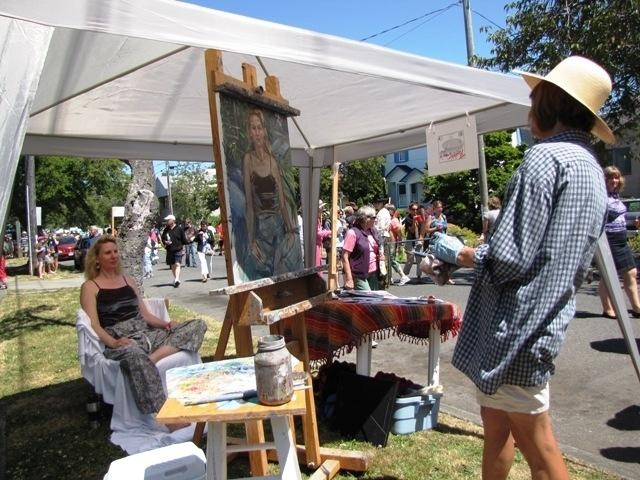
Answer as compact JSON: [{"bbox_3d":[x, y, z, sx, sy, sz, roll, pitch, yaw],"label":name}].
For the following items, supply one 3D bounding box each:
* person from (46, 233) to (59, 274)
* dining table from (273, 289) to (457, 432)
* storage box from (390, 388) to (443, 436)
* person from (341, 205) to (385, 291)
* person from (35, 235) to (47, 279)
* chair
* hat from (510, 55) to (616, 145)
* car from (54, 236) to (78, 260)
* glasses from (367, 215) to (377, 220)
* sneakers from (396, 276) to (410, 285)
[{"bbox_3d":[-12.779,0.682,22.595,0.639,1.788,0.969,-2,-2,-2],"label":"person"},{"bbox_3d":[0.635,0.846,4.746,1.257,1.221,1.536,-3,2,-34],"label":"dining table"},{"bbox_3d":[0.904,1.585,4.412,0.390,0.229,0.332,5,-7,-34],"label":"storage box"},{"bbox_3d":[0.613,0.150,6.924,0.357,1.293,0.972,1,4,38],"label":"person"},{"bbox_3d":[-11.585,0.662,19.715,0.437,1.661,1.980,-4,4,-32],"label":"person"},{"bbox_3d":[-1.836,1.176,5.044,0.906,1.054,1.133,-24,-16,26],"label":"chair"},{"bbox_3d":[1.251,-0.831,2.582,0.522,0.273,0.546,35,7,-43],"label":"hat"},{"bbox_3d":[-15.277,0.508,28.460,1.307,1.277,2.946,-2,2,-27],"label":"car"},{"bbox_3d":[0.773,-0.337,6.981,0.073,0.064,0.455,-1,4,12],"label":"glasses"},{"bbox_3d":[2.257,1.095,12.795,0.269,0.169,0.615,-1,4,14],"label":"sneakers"}]
